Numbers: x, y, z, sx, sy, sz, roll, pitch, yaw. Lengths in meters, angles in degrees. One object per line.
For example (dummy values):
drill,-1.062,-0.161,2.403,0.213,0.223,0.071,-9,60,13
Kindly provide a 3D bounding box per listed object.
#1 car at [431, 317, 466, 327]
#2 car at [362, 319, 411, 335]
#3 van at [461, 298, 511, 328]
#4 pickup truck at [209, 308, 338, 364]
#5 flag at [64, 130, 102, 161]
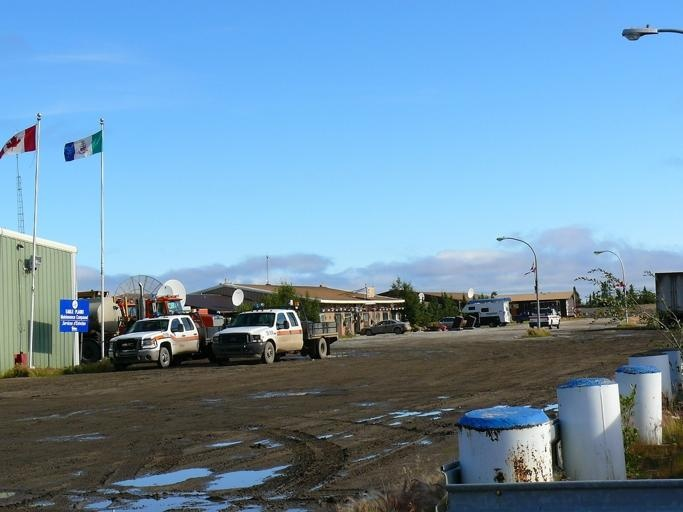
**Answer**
car,12.614,7.818,78.764,3.278,1.134,1.516,2,-1,12
car,5.529,7.762,73.967,5.219,1.525,3.236,-10,-9,40
van,17.112,6.578,79.623,5.086,2.707,3.009,1,-1,28
pickup truck,-2.800,3.417,29.772,2.380,1.673,4.753,-4,-7,29
flag,-12.751,-5.388,33.882,1.487,1.641,2.878,-1,-7,-30
